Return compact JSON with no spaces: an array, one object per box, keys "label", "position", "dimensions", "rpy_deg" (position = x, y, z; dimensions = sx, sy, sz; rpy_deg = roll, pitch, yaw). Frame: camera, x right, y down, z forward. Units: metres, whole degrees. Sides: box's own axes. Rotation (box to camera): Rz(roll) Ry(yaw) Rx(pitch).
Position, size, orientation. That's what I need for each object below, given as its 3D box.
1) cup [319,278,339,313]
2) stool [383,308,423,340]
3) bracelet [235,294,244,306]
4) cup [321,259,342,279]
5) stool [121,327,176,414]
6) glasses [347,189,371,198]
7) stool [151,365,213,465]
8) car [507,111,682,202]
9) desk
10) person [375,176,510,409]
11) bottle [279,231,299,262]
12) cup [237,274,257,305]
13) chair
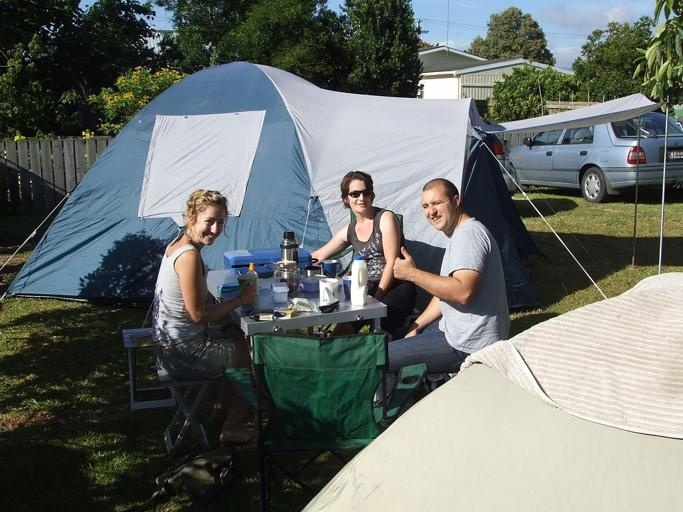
[{"label":"cup","position":[-0.062,0.254,4.090],"dimensions":[0.106,0.193,0.193],"rpy_deg":[0,3,1]},{"label":"stool","position":[0.471,0.547,5.031],"dimensions":[0.229,0.157,0.256],"rpy_deg":[-6,18,-11]},{"label":"bracelet","position":[-0.644,0.278,4.028],"dimensions":[0.046,0.066,0.021],"rpy_deg":[7,-4,2]},{"label":"cup","position":[-0.066,0.108,4.815],"dimensions":[0.136,0.160,0.100],"rpy_deg":[-2,2,-24]},{"label":"stool","position":[-1.378,0.840,4.566],"dimensions":[0.337,0.538,0.513],"rpy_deg":[-4,13,-13]},{"label":"glasses","position":[0.144,-0.490,4.995],"dimensions":[0.172,0.060,0.064],"rpy_deg":[-2,5,4]},{"label":"stool","position":[-1.085,1.057,4.400],"dimensions":[0.424,0.737,0.705],"rpy_deg":[2,5,-14]},{"label":"car","position":[4.753,-1.844,12.477],"dimensions":[2.011,1.696,3.456],"rpy_deg":[-8,15,-29]},{"label":"desk","position":[-0.150,0.716,3.892],"dimensions":[0.887,1.648,0.941],"rpy_deg":[-1,9,-5]},{"label":"person","position":[0.878,0.112,4.902],"dimensions":[1.068,2.311,1.013],"rpy_deg":[-1,2,2]},{"label":"bottle","position":[-0.361,-0.058,4.621],"dimensions":[0.159,0.345,0.182],"rpy_deg":[0,-3,1]},{"label":"cup","position":[-0.596,0.203,4.083],"dimensions":[0.119,0.156,0.156],"rpy_deg":[-1,-7,2]},{"label":"chair","position":[-0.103,0.734,3.824],"dimensions":[0.944,1.411,0.844],"rpy_deg":[0,8,-3]}]
